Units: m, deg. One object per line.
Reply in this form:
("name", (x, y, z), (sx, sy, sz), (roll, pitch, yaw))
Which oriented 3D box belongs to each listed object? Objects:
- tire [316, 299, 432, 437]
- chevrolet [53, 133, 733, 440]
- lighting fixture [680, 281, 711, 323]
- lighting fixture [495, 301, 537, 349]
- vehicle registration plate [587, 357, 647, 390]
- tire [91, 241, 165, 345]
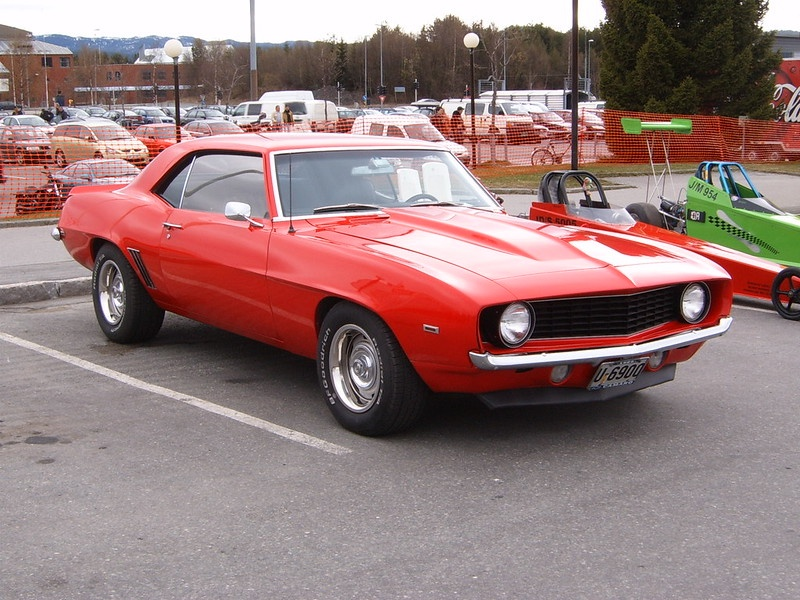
("tire", (-0.164, 0.504, 4.330), (0.807, 0.977, 0.240), (12, 18, 41))
("chevrolet", (-0.690, -0.353, 5.558), (2.562, 1.511, 5.255), (-7, 14, -44))
("lighting fixture", (2.043, 0.033, 4.491), (0.288, 0.303, 0.073), (-10, 17, -38))
("lighting fixture", (0.707, 0.158, 3.682), (0.263, 0.253, 0.281), (-1, 1, -22))
("vehicle registration plate", (1.381, 0.500, 4.126), (0.395, 0.172, 0.017), (-8, 47, -28))
("tire", (-2.463, -0.095, 6.178), (1.057, 0.945, 0.384), (13, 14, 43))
